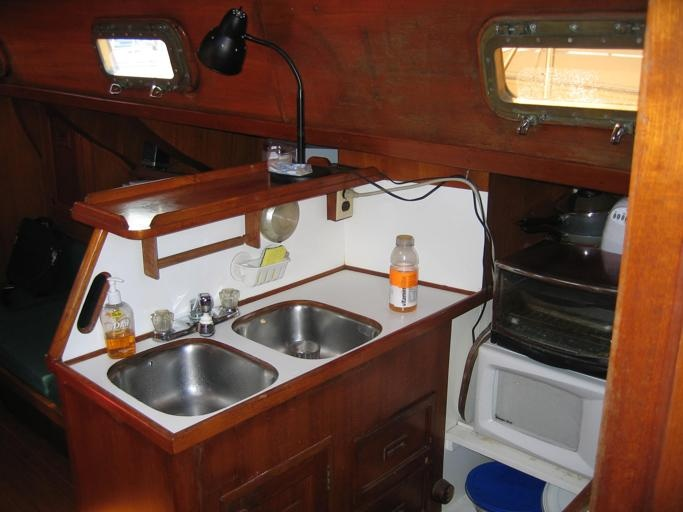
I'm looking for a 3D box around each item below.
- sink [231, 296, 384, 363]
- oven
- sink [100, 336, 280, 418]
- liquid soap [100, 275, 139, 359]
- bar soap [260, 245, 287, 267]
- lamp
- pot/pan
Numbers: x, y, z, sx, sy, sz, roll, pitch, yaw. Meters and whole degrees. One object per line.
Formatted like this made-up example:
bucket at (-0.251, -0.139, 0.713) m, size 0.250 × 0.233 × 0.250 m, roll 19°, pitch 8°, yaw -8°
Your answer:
sink at (-0.125, 0.258, 2.235) m, size 0.363 × 0.150 × 0.297 m, roll 21°, pitch 35°, yaw 40°
oven at (0.745, 0.163, 1.933) m, size 0.399 × 0.335 × 0.360 m, roll 9°, pitch 18°, yaw 34°
sink at (-0.555, 0.380, 1.852) m, size 0.299 × 0.155 × 0.387 m, roll 18°, pitch 18°, yaw 34°
liquid soap at (-0.733, 0.197, 1.839) m, size 0.097 × 0.269 × 0.069 m, roll -8°, pitch 15°, yaw -25°
bar soap at (-0.271, -0.004, 2.221) m, size 0.041 × 0.068 × 0.134 m, roll 13°, pitch 20°, yaw 44°
lamp at (-0.269, -0.584, 2.102) m, size 0.273 × 0.603 × 0.474 m, roll 7°, pitch 16°, yaw 29°
pot/pan at (0.850, -0.137, 2.054) m, size 0.283 × 0.113 × 0.197 m, roll -17°, pitch 25°, yaw -20°
